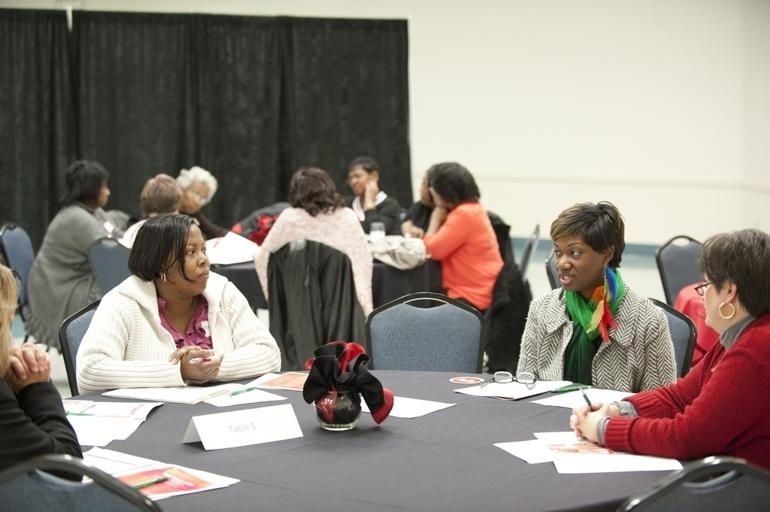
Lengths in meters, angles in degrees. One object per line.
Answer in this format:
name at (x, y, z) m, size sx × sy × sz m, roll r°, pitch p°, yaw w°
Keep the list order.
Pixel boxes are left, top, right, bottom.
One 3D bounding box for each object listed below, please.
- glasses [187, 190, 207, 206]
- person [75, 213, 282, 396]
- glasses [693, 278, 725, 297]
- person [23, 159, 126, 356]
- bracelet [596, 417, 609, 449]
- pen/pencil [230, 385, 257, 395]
glasses at (-1.560, -0.488, 5.350) m, size 0.077 × 0.118 × 0.219 m, roll 3°, pitch 11°, yaw 10°
person at (-0.794, 0.198, 2.384) m, size 0.723 × 0.646 × 0.520 m, roll -1°, pitch 10°, yaw -43°
glasses at (0.978, 0.098, 1.914) m, size 0.078 × 0.024 × 0.079 m, roll 11°, pitch -4°, yaw 6°
person at (-2.131, -0.046, 4.644) m, size 0.727 × 1.260 × 0.953 m, roll 11°, pitch 19°, yaw -5°
bracelet at (0.601, 0.490, 1.759) m, size 0.022 × 0.058 × 0.062 m, roll 7°, pitch 2°, yaw 10°
pen/pencil at (-0.478, 0.460, 2.160) m, size 0.021 × 0.016 × 0.087 m, roll -14°, pitch -3°, yaw 37°
